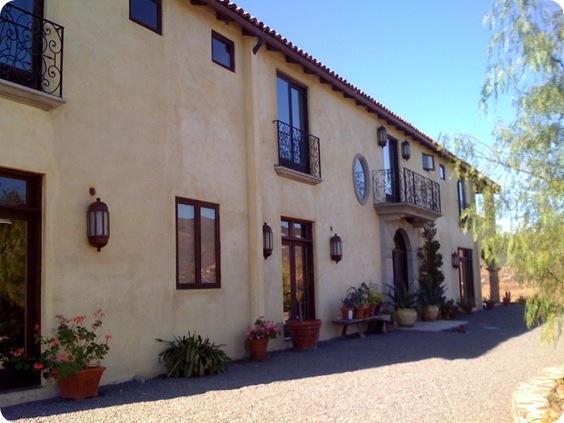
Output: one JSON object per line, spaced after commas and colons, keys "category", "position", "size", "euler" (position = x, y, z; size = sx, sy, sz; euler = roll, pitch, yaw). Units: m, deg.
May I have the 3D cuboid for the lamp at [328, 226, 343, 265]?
{"category": "lamp", "position": [1.410, 1.006, 12.395], "size": [0.309, 0.700, 0.304], "euler": [-1, -5, 6]}

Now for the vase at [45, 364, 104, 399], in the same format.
{"category": "vase", "position": [-2.856, 2.421, 6.589], "size": [0.480, 0.392, 0.474], "euler": [-2, -13, 1]}

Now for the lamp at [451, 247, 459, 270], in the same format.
{"category": "lamp", "position": [7.251, 2.028, 19.626], "size": [0.203, 0.800, 1.246], "euler": [-2, -6, 26]}

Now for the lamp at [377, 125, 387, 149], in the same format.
{"category": "lamp", "position": [3.231, -2.463, 15.217], "size": [0.203, 0.716, 0.410], "euler": [-4, -6, 42]}

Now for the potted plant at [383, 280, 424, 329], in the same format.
{"category": "potted plant", "position": [3.715, 2.916, 14.571], "size": [1.028, 1.302, 1.179], "euler": [-3, -9, 18]}

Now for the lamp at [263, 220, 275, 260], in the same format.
{"category": "lamp", "position": [-0.324, 0.639, 10.259], "size": [0.208, 0.820, 0.454], "euler": [0, -5, 0]}

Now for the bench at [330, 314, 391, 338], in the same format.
{"category": "bench", "position": [2.167, 3.086, 12.698], "size": [0.722, 0.536, 2.482], "euler": [-5, -8, 39]}

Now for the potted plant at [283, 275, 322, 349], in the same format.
{"category": "potted plant", "position": [0.421, 2.525, 10.784], "size": [0.826, 1.593, 0.947], "euler": [0, -5, -10]}

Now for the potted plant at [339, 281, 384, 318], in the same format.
{"category": "potted plant", "position": [2.164, 2.456, 12.743], "size": [0.648, 0.713, 1.453], "euler": [-2, -13, 15]}

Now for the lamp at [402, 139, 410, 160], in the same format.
{"category": "lamp", "position": [4.342, -2.180, 16.493], "size": [0.223, 0.726, 0.401], "euler": [-3, -5, 30]}

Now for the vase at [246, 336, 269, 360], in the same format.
{"category": "vase", "position": [-0.493, 2.805, 9.473], "size": [0.375, 0.350, 0.402], "euler": [12, -22, -32]}
